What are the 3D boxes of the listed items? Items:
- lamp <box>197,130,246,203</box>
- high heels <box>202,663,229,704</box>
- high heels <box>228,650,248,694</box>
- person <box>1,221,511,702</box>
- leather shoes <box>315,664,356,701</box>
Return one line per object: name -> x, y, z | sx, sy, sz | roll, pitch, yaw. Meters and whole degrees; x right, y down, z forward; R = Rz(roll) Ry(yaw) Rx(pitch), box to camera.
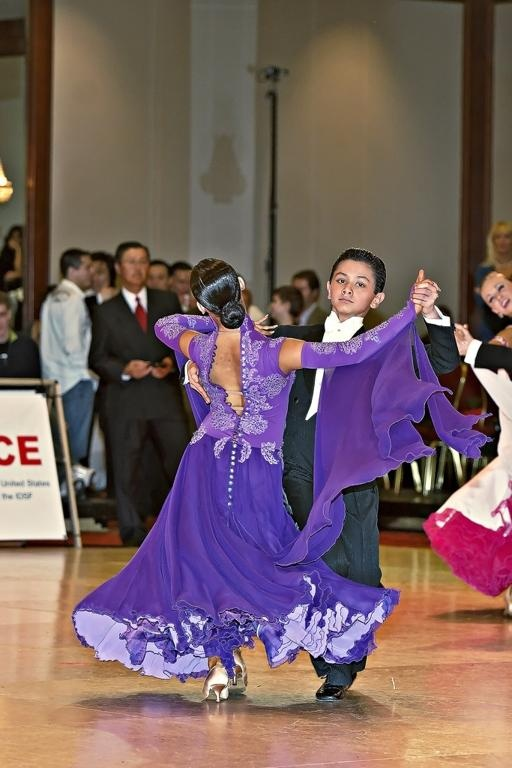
lamp -> -0.283, -1.840, 7.140 | 0.360, 0.562, 0.121 | -1, 12, -8
high heels -> -0.104, 0.812, 2.259 | 0.065, 0.100, 0.043 | -6, 6, 1
high heels -> -0.047, 0.845, 2.434 | 0.053, 0.068, 0.153 | -1, 53, 0
person -> -0.259, 0.108, 2.731 | 1.348, 1.544, 1.219 | 17, 23, 32
leather shoes -> 0.222, 0.824, 2.287 | 0.052, 0.059, 0.149 | 1, -6, 20
